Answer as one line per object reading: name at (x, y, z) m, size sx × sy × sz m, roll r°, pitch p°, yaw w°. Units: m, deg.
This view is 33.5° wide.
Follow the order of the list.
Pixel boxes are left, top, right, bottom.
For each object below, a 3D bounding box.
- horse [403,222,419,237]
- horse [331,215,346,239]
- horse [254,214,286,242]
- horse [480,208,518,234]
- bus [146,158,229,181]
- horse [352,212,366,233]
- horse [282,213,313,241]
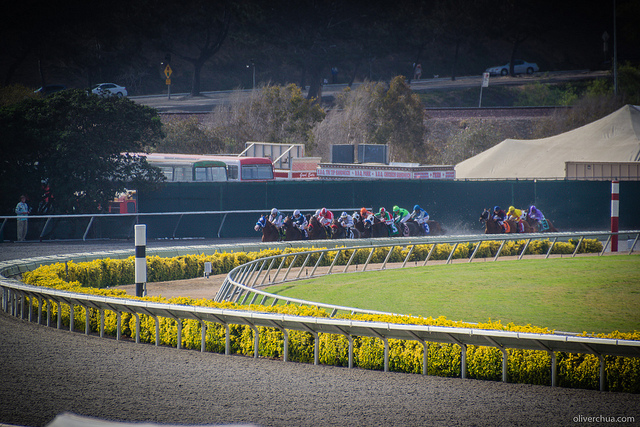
horse at (5.557, 0.959, 64.078) m, size 0.663 × 0.887 × 0.867 m, roll 4°, pitch -3°, yaw -15°
horse at (1.071, 0.946, 62.499) m, size 0.398 × 1.601 × 1.073 m, roll -16°, pitch -11°, yaw 30°
horse at (-2.918, 0.863, 60.645) m, size 0.844 × 1.457 × 1.990 m, roll 1°, pitch -2°, yaw 34°
horse at (10.963, 0.551, 65.373) m, size 2.504 × 1.371 × 0.595 m, roll 2°, pitch -2°, yaw -30°
bus at (-9.545, -2.969, 73.012) m, size 6.472 × 1.793 × 1.692 m, roll 0°, pitch 6°, yaw -10°
horse at (2.287, 0.511, 63.369) m, size 0.414 × 1.520 × 0.874 m, roll -17°, pitch 33°, yaw 3°
horse at (-1.394, 0.861, 61.425) m, size 1.565 × 1.365 × 0.704 m, roll 2°, pitch -2°, yaw -6°
